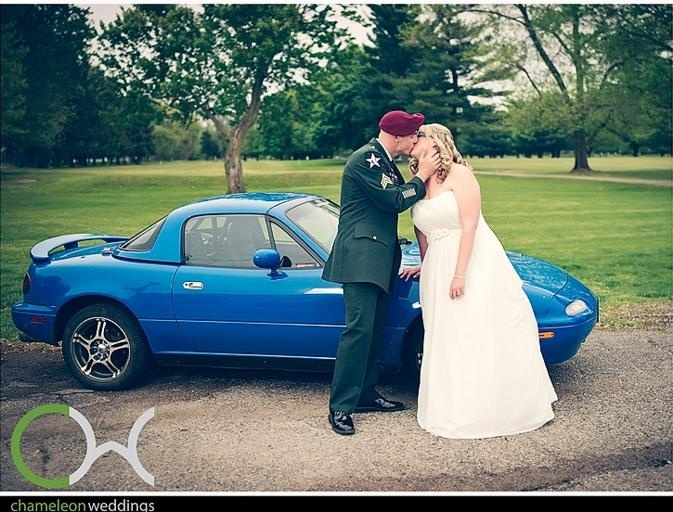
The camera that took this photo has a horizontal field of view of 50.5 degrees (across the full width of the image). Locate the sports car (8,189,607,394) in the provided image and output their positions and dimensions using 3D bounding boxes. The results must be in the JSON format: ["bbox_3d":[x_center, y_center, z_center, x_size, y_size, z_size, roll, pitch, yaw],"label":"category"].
[{"bbox_3d":[-0.297,0.393,8.049,5.894,1.752,2.492,0,7,8],"label":"sports car"}]

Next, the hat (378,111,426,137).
[{"bbox_3d":[0.621,-1.257,6.837,0.354,0.248,0.129,-8,-4,8],"label":"hat"}]

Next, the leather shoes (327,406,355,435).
[{"bbox_3d":[0.036,1.592,6.807,0.145,0.125,0.294,1,0,-31],"label":"leather shoes"}]

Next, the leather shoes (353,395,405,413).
[{"bbox_3d":[0.421,1.471,7.216,0.510,0.199,0.188,-2,-1,-1],"label":"leather shoes"}]

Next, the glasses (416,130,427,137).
[{"bbox_3d":[0.812,-1.174,6.852,0.055,0.029,0.074,-11,34,10],"label":"glasses"}]

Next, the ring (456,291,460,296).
[{"bbox_3d":[1.143,0.356,6.735,0.034,0.045,0.016,2,23,-10],"label":"ring"}]

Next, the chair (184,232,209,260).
[{"bbox_3d":[-1.511,-0.098,7.579,0.145,0.153,0.263,-2,18,8],"label":"chair"}]

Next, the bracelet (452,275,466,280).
[{"bbox_3d":[1.156,0.206,6.741,0.112,0.049,0.047,-2,13,-5],"label":"bracelet"}]
